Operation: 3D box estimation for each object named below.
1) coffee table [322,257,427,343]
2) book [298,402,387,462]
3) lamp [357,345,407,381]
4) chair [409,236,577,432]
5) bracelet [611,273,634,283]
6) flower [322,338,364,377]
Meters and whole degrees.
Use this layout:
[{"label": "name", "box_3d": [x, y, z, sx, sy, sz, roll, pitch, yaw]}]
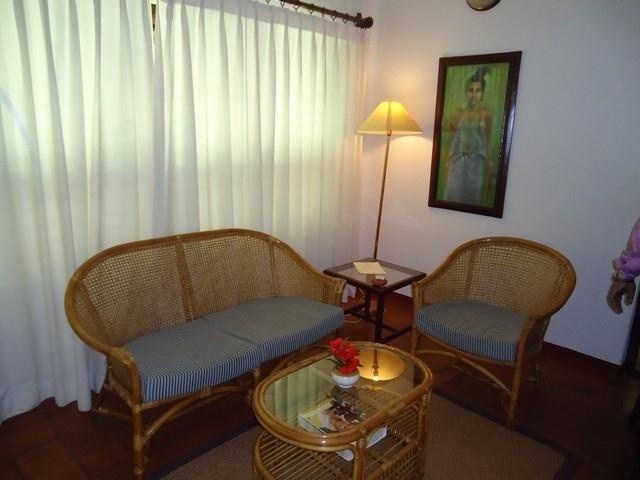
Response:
[{"label": "coffee table", "box_3d": [0.438, 0.417, 3.829, 0.670, 0.559, 0.677, -12, 23, -38]}, {"label": "book", "box_3d": [0.059, 0.928, 2.449, 0.300, 0.079, 0.286, -13, 19, -42]}, {"label": "lamp", "box_3d": [0.347, 0.733, 2.758, 0.165, 0.067, 0.175, -1, 23, -8]}, {"label": "chair", "box_3d": [1.192, 0.588, 3.352, 0.859, 1.097, 0.897, -11, 19, -39]}, {"label": "bracelet", "box_3d": [1.831, 0.238, 2.874, 0.075, 0.034, 0.062, 20, 17, 41]}, {"label": "flower", "box_3d": [0.143, 0.644, 2.676, 0.166, 0.206, 0.182, -2, 4, -7]}]
